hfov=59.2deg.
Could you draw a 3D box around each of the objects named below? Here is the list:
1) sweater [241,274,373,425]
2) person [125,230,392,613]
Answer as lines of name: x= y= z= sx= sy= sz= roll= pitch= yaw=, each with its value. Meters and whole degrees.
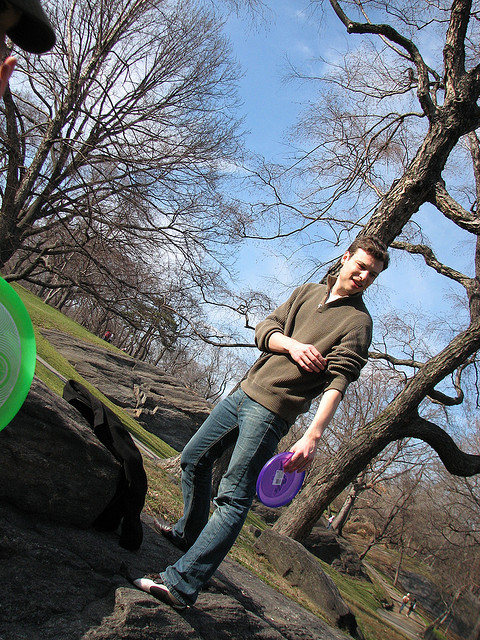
sweater: x=0.443 y=0.143 z=2.611 sx=0.796 sy=0.951 sz=0.355 roll=27 pitch=-10 yaw=45
person: x=0.197 y=0.470 z=2.483 sx=0.534 sy=2.331 sz=0.802 roll=37 pitch=-7 yaw=-13
